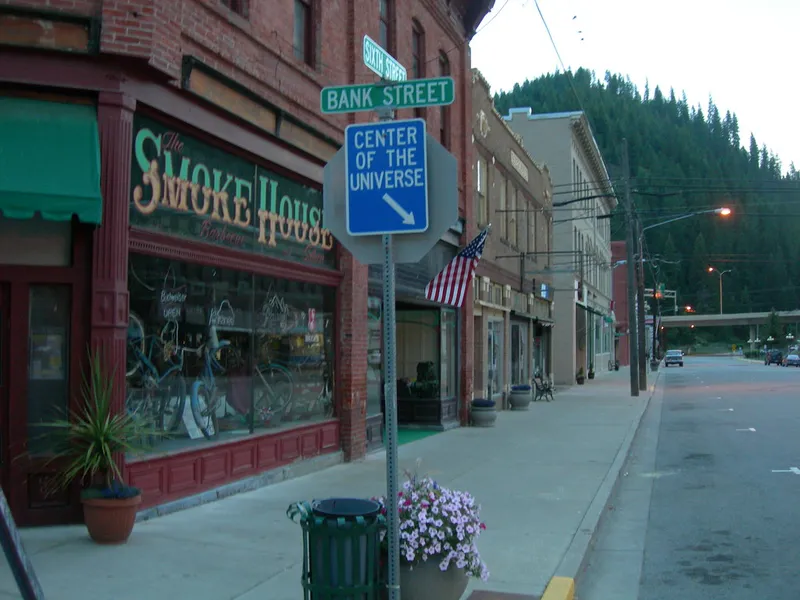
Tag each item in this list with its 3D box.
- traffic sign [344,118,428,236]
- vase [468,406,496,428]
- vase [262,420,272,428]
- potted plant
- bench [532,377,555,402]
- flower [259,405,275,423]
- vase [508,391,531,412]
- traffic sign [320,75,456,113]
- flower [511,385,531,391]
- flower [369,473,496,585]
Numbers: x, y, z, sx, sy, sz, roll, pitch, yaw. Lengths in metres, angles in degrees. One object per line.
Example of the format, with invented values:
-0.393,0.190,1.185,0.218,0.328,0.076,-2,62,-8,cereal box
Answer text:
-0.106,-1.049,7.219,0.785,1.289,0.039,-2,-9,9,traffic sign
2.176,3.072,21.674,0.458,0.390,0.527,-4,-7,17,vase
-2.190,2.065,13.600,0.038,0.134,0.214,-5,-5,19,vase
-3.900,1.915,10.867,2.004,2.612,1.941,6,-13,-33,potted plant
5.338,3.370,30.805,0.787,1.090,0.757,-7,-7,36,bench
-2.203,1.903,13.600,0.088,0.307,0.187,-1,3,38,flower
3.867,3.312,26.642,0.516,0.492,0.535,-2,-4,17,vase
-0.124,-1.882,7.523,1.216,0.363,0.230,-7,-5,13,traffic sign
3.965,2.922,27.175,0.593,0.202,0.673,-7,-6,13,flower
0.385,2.330,8.354,0.910,1.101,0.967,1,-7,-5,flower
